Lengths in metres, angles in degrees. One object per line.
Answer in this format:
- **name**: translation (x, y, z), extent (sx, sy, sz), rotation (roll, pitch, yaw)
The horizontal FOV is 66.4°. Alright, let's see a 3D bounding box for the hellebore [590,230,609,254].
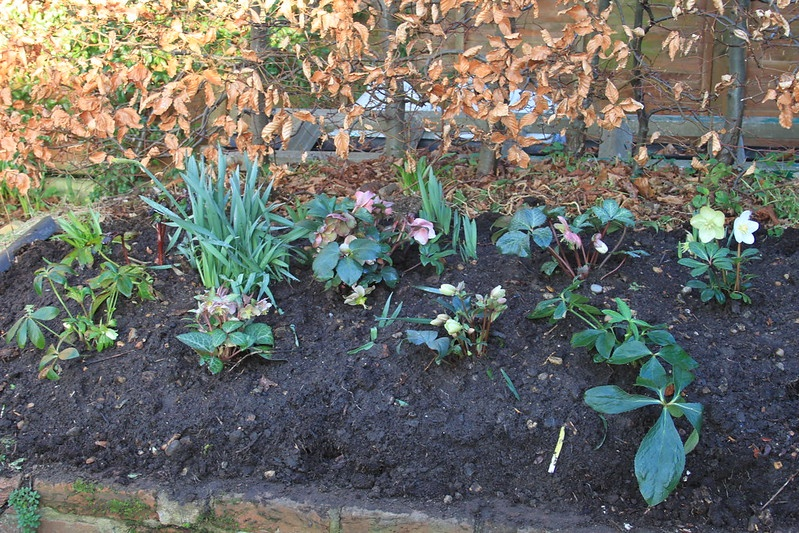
- **hellebore**: translation (0.981, -0.116, 3.085), extent (0.086, 0.116, 0.047), rotation (-42, 10, -37)

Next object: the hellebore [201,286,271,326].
- **hellebore**: translation (-0.809, 0.197, 2.973), extent (0.262, 0.124, 0.227), rotation (4, 3, 3)
